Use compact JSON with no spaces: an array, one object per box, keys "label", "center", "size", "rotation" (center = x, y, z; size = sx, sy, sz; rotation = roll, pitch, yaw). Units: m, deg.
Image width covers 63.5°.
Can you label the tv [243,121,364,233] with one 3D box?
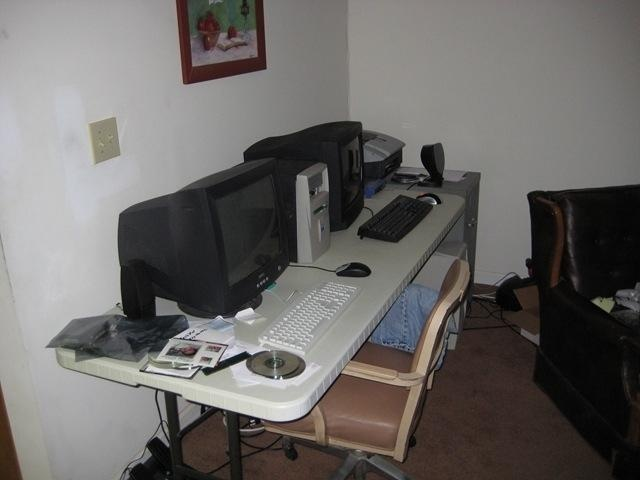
[{"label":"tv","center":[-0.008,-0.256,2.700],"size":[0.610,0.564,0.541],"rotation":[11,40,13]}]

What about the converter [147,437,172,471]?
[{"label":"converter","center":[-0.751,0.977,2.385],"size":[0.153,0.038,0.093],"rotation":[39,36,29]}]

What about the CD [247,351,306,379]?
[{"label":"CD","center":[-0.157,0.434,1.798],"size":[0.208,0.025,0.145],"rotation":[-4,19,0]}]

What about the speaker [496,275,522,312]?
[{"label":"speaker","center":[1.274,0.365,3.535],"size":[0.198,0.201,0.196],"rotation":[7,-14,15]}]

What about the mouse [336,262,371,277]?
[{"label":"mouse","center":[0.152,0.133,2.262],"size":[0.119,0.042,0.069],"rotation":[3,20,5]}]

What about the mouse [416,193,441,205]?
[{"label":"mouse","center":[0.640,-0.240,2.959],"size":[0.104,0.035,0.074],"rotation":[19,29,29]}]

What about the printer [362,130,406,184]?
[{"label":"printer","center":[0.384,-0.539,3.306],"size":[0.234,0.279,0.434],"rotation":[3,20,19]}]
